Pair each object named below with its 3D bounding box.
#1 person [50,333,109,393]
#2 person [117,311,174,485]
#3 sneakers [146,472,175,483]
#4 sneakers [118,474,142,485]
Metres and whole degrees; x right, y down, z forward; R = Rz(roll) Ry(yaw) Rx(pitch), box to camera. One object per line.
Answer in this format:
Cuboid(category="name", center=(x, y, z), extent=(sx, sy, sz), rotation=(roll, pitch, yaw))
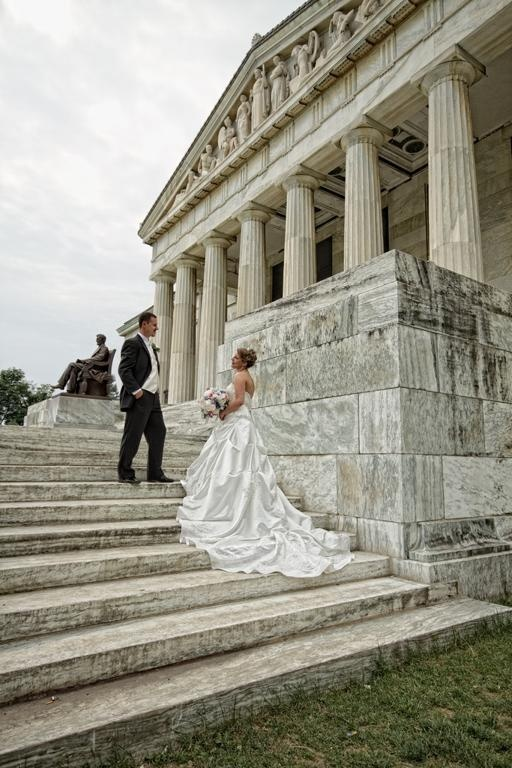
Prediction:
Cuboid(category="person", center=(-4.771, -0.529, 13.243), extent=(0.978, 1.734, 1.489), rotation=(-4, -10, 43))
Cuboid(category="person", center=(-1.392, 0.115, 5.967), extent=(0.641, 2.200, 1.159), rotation=(3, -9, -10))
Cuboid(category="sneakers", center=(-1.247, 1.198, 6.113), extent=(0.392, 0.157, 0.144), rotation=(0, -6, -7))
Cuboid(category="sneakers", center=(-1.521, 1.137, 5.664), extent=(0.257, 0.103, 0.096), rotation=(-2, -11, 15))
